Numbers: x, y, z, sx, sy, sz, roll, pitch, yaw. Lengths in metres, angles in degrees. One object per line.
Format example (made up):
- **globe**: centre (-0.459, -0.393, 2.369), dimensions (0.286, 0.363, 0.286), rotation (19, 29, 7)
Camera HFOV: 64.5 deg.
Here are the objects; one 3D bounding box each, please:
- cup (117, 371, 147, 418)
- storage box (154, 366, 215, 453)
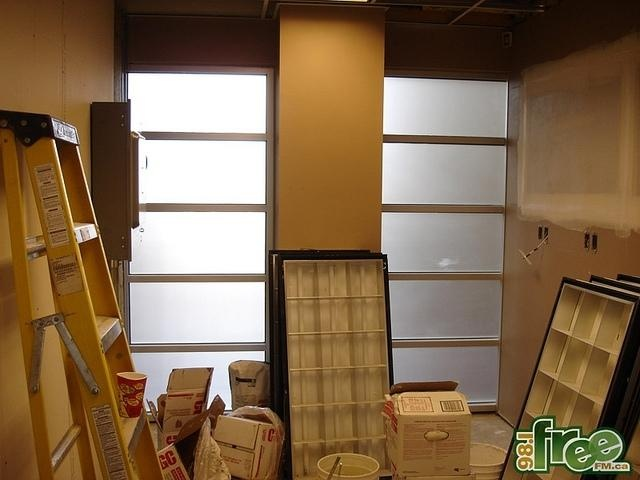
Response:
- **cup**: centre (-0.990, 0.803, 2.615), dimensions (0.151, 0.211, 0.170), rotation (-3, -15, 18)
- **storage box**: centre (-1.061, 1.305, 3.987), dimensions (0.487, 0.869, 0.481), rotation (3, -12, -9)
